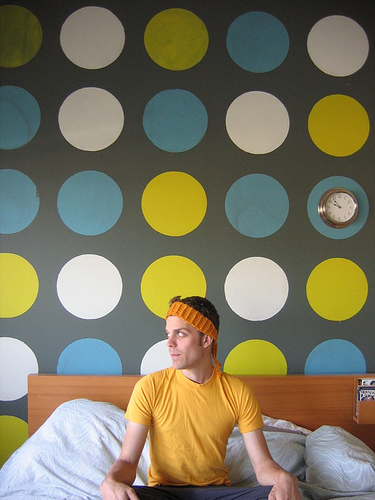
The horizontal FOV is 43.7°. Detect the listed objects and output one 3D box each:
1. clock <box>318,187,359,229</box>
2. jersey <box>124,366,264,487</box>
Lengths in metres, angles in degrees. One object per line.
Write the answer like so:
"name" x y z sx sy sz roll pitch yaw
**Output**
"clock" 0.812 -0.218 2.564 0.180 0.224 0.042 3 2 -4
"jersey" 0.023 0.628 1.684 0.442 0.463 0.193 3 -1 -7
